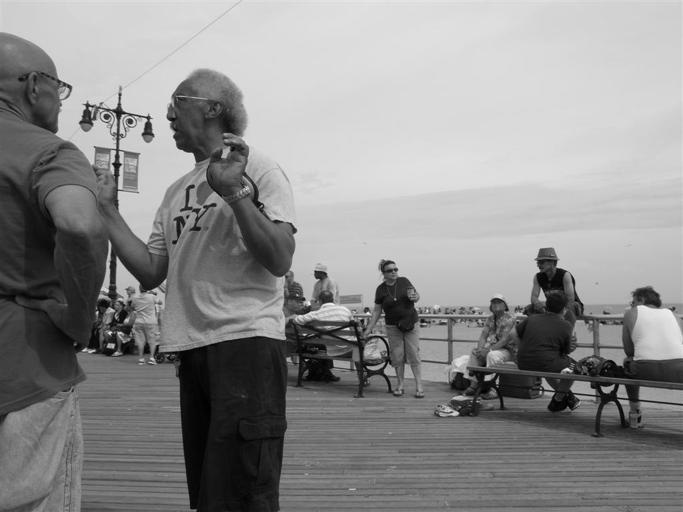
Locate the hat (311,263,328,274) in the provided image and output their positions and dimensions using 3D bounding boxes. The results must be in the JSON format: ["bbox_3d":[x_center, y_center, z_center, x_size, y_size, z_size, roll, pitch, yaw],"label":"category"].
[{"bbox_3d":[-0.327,0.178,12.247,0.171,0.083,0.129,16,-10,-27],"label":"hat"}]

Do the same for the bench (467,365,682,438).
[{"bbox_3d":[2.204,1.316,7.645,0.666,0.491,2.006,2,-2,-34],"label":"bench"}]

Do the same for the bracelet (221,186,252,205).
[{"bbox_3d":[-0.444,-0.257,3.439,0.087,0.032,0.081,-26,11,12],"label":"bracelet"}]

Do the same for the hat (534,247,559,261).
[{"bbox_3d":[2.571,-0.019,10.330,0.198,0.104,0.194,7,-7,-7],"label":"hat"}]

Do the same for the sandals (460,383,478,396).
[{"bbox_3d":[1.380,1.466,9.125,0.354,0.135,0.126,9,-14,-40],"label":"sandals"}]

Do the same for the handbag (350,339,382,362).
[{"bbox_3d":[0.287,1.134,10.069,0.309,0.357,0.275,0,-5,13],"label":"handbag"}]

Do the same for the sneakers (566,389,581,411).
[{"bbox_3d":[2.448,1.522,8.808,0.132,0.112,0.313,45,1,27],"label":"sneakers"}]

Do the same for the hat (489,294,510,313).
[{"bbox_3d":[1.842,0.542,9.753,0.212,0.200,0.302,0,-2,8],"label":"hat"}]

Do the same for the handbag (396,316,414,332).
[{"bbox_3d":[0.710,0.770,9.459,0.213,0.174,0.149,0,-2,25],"label":"handbag"}]
